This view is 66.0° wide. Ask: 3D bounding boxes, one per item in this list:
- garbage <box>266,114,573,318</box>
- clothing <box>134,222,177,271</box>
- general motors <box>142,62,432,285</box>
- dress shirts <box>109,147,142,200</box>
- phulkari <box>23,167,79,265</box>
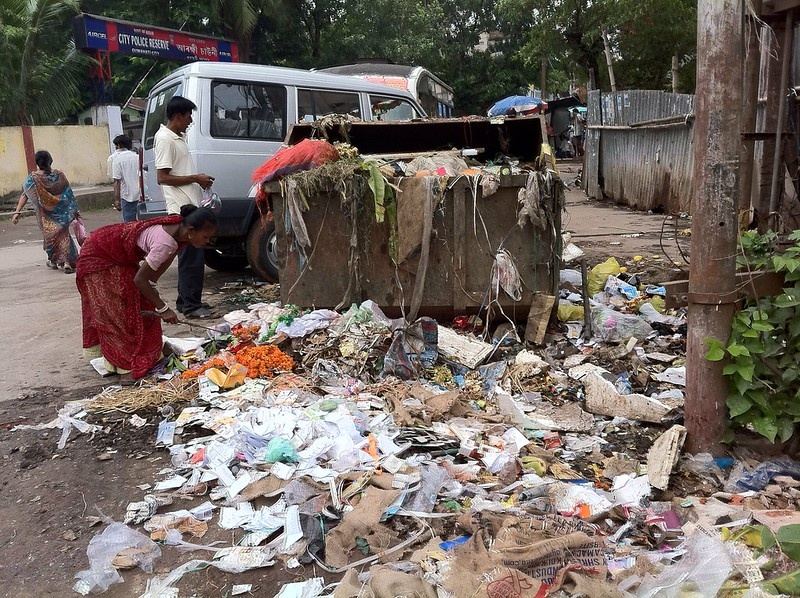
[{"bbox_3d":[0.442,-0.805,5.799,2.667,1.895,1.677,4,10,27],"label":"garbage"},{"bbox_3d":[-1.878,-0.387,4.699,0.321,0.330,0.222,5,15,31],"label":"clothing"},{"bbox_3d":[-1.443,-1.738,8.628,2.299,2.568,4.506,11,14,42],"label":"general motors"},{"bbox_3d":[-3.867,-1.752,8.812,0.594,0.734,0.319,3,14,26],"label":"dress shirts"},{"bbox_3d":[-5.015,-1.122,8.923,0.596,1.426,0.449,-8,14,-20],"label":"phulkari"}]
